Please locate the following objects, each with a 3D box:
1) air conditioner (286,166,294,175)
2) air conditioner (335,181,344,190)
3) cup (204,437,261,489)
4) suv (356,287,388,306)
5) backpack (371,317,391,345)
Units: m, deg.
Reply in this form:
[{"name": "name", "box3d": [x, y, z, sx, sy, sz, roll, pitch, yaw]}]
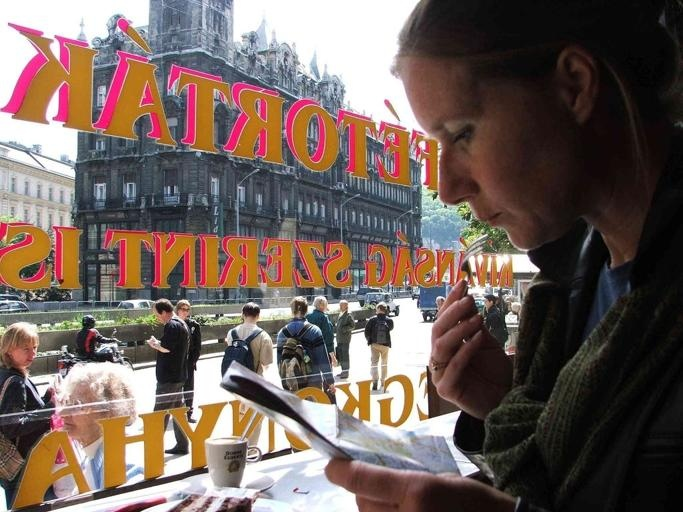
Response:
[{"name": "air conditioner", "box3d": [-3.104, -4.983, 41.249, 0.343, 0.623, 1.030, -1, -2, 11]}, {"name": "air conditioner", "box3d": [-0.151, -4.726, 47.743, 0.464, 0.690, 0.649, -1, -6, 26]}, {"name": "cup", "box3d": [-0.439, 0.802, 2.768, 0.179, 0.201, 0.175, -3, -8, 0]}, {"name": "suv", "box3d": [1.664, 2.500, 42.247, 1.730, 0.999, 1.064, -2, -1, 11]}, {"name": "backpack", "box3d": [0.718, 1.356, 12.612, 0.350, 0.511, 0.480, 1, 0, 2]}]
